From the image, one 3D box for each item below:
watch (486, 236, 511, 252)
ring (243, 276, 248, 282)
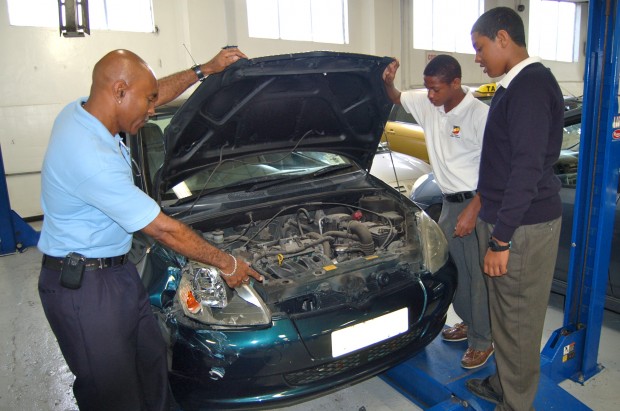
[{"bbox_3d":[1.127,0.218,2.690,0.095,0.055,0.087,5,11,-9],"label":"watch"},{"bbox_3d":[-0.384,0.439,2.700,0.027,0.033,0.036,-1,7,-1],"label":"ring"}]
